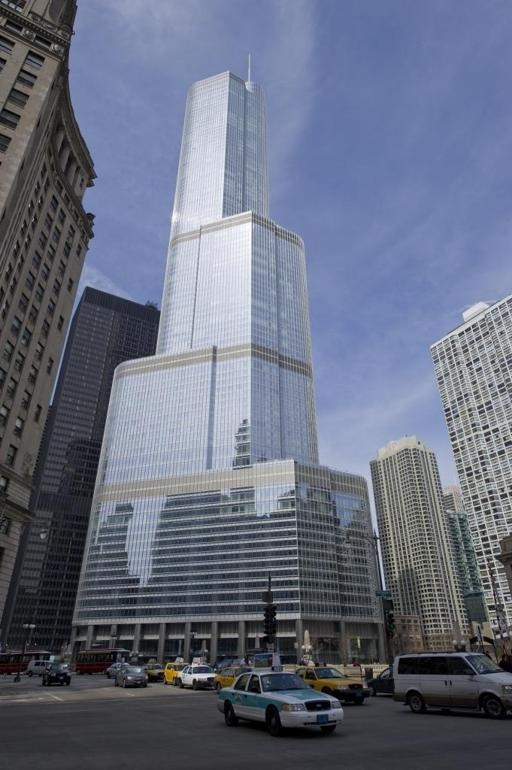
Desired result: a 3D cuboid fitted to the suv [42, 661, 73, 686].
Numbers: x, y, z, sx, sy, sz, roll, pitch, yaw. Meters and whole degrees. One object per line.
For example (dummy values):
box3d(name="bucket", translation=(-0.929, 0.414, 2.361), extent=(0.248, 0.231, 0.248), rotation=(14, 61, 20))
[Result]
box3d(name="suv", translation=(-14.952, 21.277, 36.411), extent=(1.416, 1.414, 2.655), rotation=(8, -39, -24))

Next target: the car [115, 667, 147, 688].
box3d(name="car", translation=(-8.646, 19.663, 33.426), extent=(1.196, 1.018, 2.671), rotation=(10, -40, -18))

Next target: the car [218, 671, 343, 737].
box3d(name="car", translation=(0.539, 7.712, 12.510), extent=(1.610, 1.263, 3.640), rotation=(16, -35, -22))

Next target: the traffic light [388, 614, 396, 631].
box3d(name="traffic light", translation=(7.473, 13.092, 27.215), extent=(0.284, 0.876, 0.937), rotation=(-6, -29, 8))
